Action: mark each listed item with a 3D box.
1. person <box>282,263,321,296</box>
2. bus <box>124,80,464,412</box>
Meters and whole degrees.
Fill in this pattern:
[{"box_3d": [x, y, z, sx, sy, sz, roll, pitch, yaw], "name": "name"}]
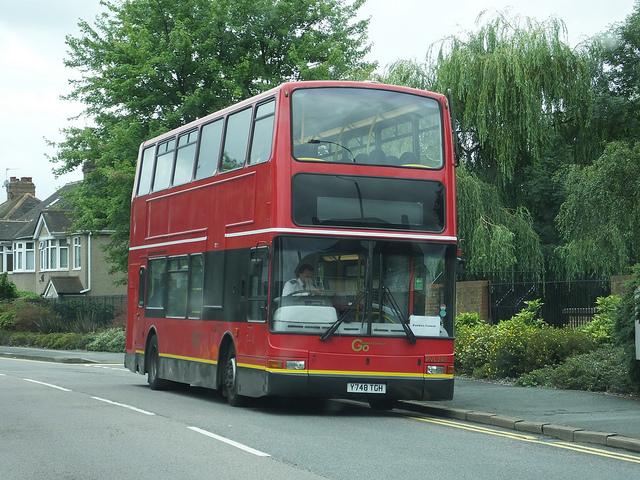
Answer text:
[{"box_3d": [-0.347, 0.750, 13.799, 0.392, 0.728, 0.715, 16, 15, 38], "name": "person"}, {"box_3d": [-1.596, 0.345, 18.531, 3.819, 6.381, 10.620, 4, -5, -29], "name": "bus"}]
